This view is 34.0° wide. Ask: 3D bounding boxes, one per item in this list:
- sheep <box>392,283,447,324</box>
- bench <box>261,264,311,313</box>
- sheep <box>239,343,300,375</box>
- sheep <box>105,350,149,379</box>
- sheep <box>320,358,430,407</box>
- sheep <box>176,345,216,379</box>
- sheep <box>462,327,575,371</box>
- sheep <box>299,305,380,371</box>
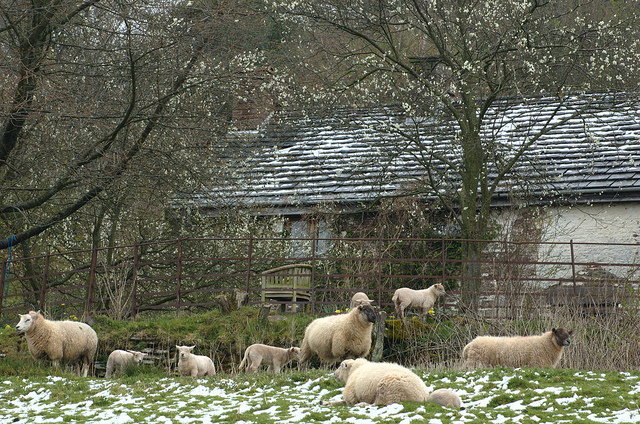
[{"bbox_3d":[2.601,2.475,28.285,1.276,1.097,0.805,1,-9,3],"label":"sheep"},{"bbox_3d":[-0.915,2.028,29.788,1.131,2.068,1.464,0,-3,29],"label":"bench"},{"bbox_3d":[-1.289,3.829,27.030,1.636,0.911,0.486,6,-3,-25],"label":"sheep"},{"bbox_3d":[-5.113,3.954,27.097,0.901,0.732,1.242,0,-9,9],"label":"sheep"},{"bbox_3d":[1.266,3.924,23.846,2.159,1.088,1.088,-4,-11,36],"label":"sheep"},{"bbox_3d":[-3.227,4.030,26.963,0.441,0.919,1.632,-5,-21,24],"label":"sheep"},{"bbox_3d":[4.721,3.213,25.229,2.641,1.766,1.075,-1,-8,5],"label":"sheep"},{"bbox_3d":[0.420,3.232,26.290,2.282,1.785,1.253,-9,-8,38],"label":"sheep"}]
